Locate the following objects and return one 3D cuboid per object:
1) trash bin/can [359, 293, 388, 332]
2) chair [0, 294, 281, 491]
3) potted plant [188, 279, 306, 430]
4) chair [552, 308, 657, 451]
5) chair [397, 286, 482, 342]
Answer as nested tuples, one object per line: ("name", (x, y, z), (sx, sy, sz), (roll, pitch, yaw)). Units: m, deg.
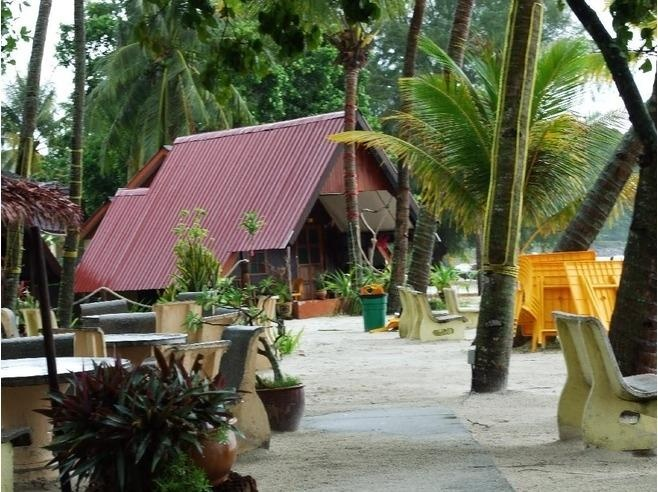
("trash bin/can", (1.066, 1.652, 19.287), (1.081, 0.903, 0.854), (-1, -7, 5))
("chair", (-1.546, 1.261, 6.437), (1.823, 1.112, 1.861), (-1, -4, 5))
("potted plant", (-0.727, 1.248, 8.011), (0.895, 1.129, 0.671), (-10, 3, -20))
("chair", (2.461, 1.182, 6.990), (0.795, 1.181, 0.761), (-1, -4, 2))
("chair", (2.099, 1.453, 16.950), (1.040, 1.102, 1.442), (1, -4, -29))
